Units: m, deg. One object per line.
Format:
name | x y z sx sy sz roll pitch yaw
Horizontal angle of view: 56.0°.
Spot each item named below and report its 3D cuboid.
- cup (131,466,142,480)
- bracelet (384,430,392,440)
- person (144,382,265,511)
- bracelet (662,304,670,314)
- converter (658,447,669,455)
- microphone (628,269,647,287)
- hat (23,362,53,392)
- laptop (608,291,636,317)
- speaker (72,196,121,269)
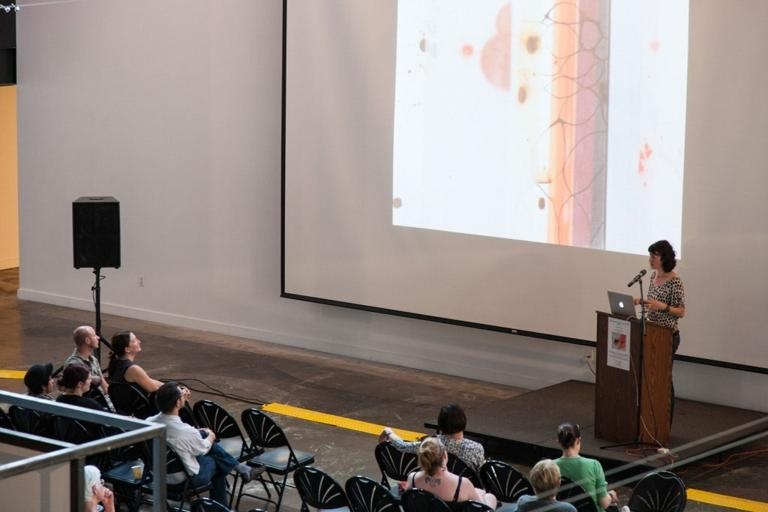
cup | -2.015 1.748 5.889 0.094 0.082 0.098 0 1 0
bracelet | 0.036 1.424 5.767 0.061 0.088 0.026 -8 -22 8
person | -1.469 1.514 5.830 0.755 1.072 0.332 -4 11 -20
bracelet | 2.702 0.502 6.932 0.066 0.053 0.068 0 9 3
converter | 2.553 1.769 6.613 0.052 0.029 0.076 1 1 33
microphone | 2.614 0.220 7.457 0.072 0.078 0.288 18 37 32
hat | -3.039 1.083 6.458 0.213 0.330 0.163 12 -1 27
laptop | 2.171 0.438 6.614 0.199 0.210 0.281 -13 13 -32
speaker | -3.848 -0.303 9.692 0.593 0.893 0.261 -5 12 -24
